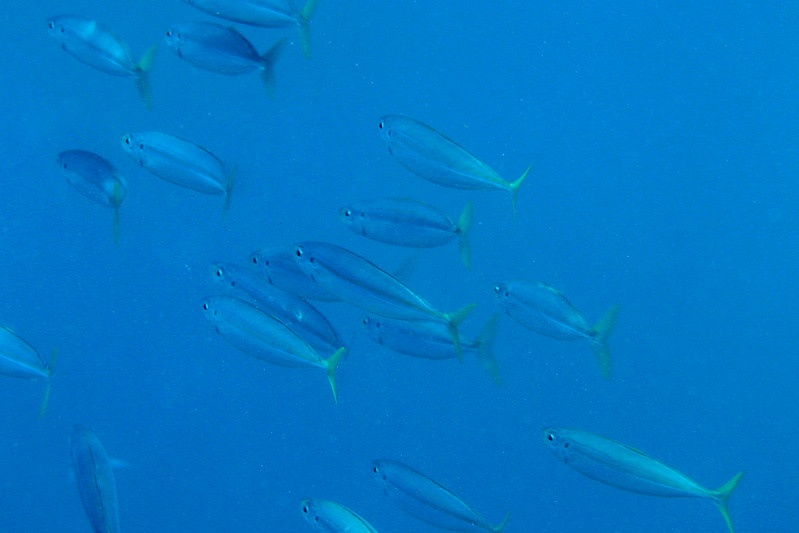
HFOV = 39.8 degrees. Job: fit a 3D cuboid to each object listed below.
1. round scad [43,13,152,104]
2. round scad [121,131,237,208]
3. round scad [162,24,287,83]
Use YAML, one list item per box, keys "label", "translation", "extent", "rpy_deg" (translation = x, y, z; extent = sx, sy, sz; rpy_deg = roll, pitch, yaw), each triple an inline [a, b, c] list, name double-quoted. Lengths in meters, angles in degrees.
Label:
- label: "round scad"
  translation: [-1.573, -1.075, 5.906]
  extent: [0.545, 0.495, 0.115]
  rpy_deg: [0, 14, 6]
- label: "round scad"
  translation: [-1.174, -0.509, 5.891]
  extent: [0.600, 0.384, 0.125]
  rpy_deg: [2, 15, 14]
- label: "round scad"
  translation: [-0.936, -1.158, 6.010]
  extent: [0.644, 0.342, 0.180]
  rpy_deg: [19, 0, -3]
